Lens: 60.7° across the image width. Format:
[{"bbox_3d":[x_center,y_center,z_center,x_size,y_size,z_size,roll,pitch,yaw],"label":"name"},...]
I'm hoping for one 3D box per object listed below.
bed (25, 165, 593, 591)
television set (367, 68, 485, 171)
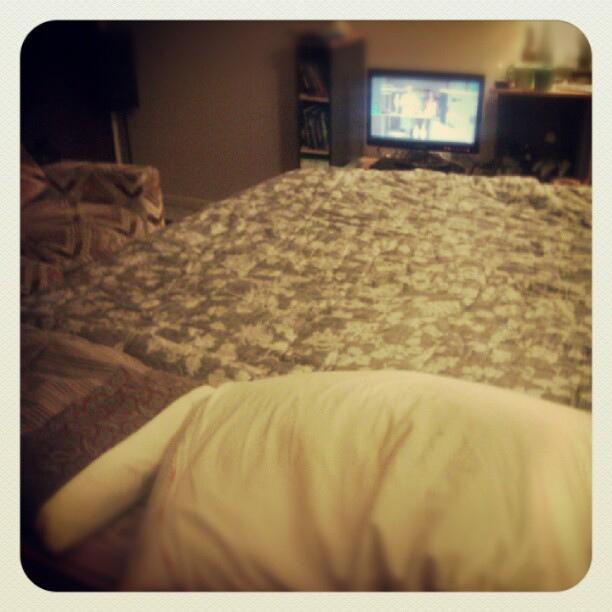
[{"bbox_3d":[0.075,0.291,1.302,1.028,0.268,1.062,-2,44,32],"label":"bed"},{"bbox_3d":[0.279,-0.440,1.251,0.269,0.222,0.022,3,14,6],"label":"television set"}]
